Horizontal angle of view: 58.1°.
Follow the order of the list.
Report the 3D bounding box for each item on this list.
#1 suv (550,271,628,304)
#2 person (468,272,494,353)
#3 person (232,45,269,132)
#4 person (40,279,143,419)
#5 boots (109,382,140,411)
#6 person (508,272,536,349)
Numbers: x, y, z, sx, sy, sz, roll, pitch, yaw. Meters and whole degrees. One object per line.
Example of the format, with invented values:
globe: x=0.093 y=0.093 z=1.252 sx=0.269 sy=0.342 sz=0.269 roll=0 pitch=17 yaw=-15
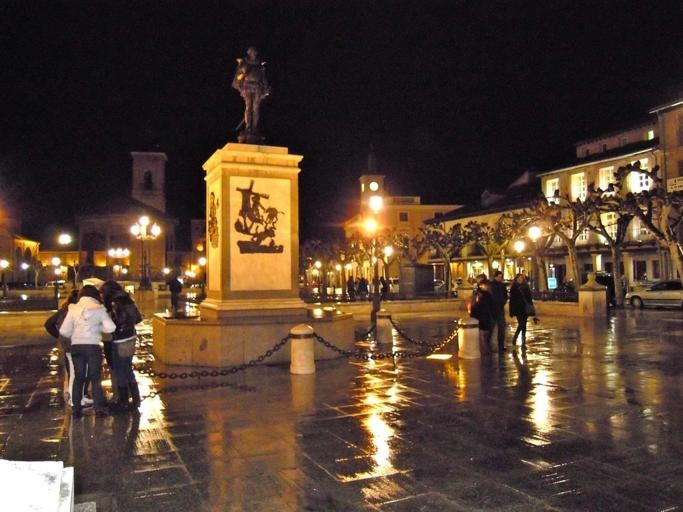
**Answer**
suv: x=12.729 y=1.587 z=31.296 sx=2.564 sy=1.632 sz=1.568 roll=2 pitch=-4 yaw=-2
person: x=3.326 y=1.387 z=14.561 sx=0.531 sy=1.846 sz=0.909 roll=-1 pitch=1 yaw=18
person: x=-2.078 y=-3.840 z=14.365 sx=0.758 sy=1.966 sz=0.699 roll=-1 pitch=1 yaw=-17
person: x=-3.930 y=1.468 z=10.004 sx=1.153 sy=2.021 sz=1.120 roll=-2 pitch=1 yaw=-27
boots: x=-3.524 y=2.384 z=10.241 sx=0.368 sy=0.484 sz=0.493 roll=-3 pitch=-19 yaw=14
person: x=4.532 y=1.385 z=15.439 sx=0.576 sy=1.836 sz=0.810 roll=-1 pitch=1 yaw=16
